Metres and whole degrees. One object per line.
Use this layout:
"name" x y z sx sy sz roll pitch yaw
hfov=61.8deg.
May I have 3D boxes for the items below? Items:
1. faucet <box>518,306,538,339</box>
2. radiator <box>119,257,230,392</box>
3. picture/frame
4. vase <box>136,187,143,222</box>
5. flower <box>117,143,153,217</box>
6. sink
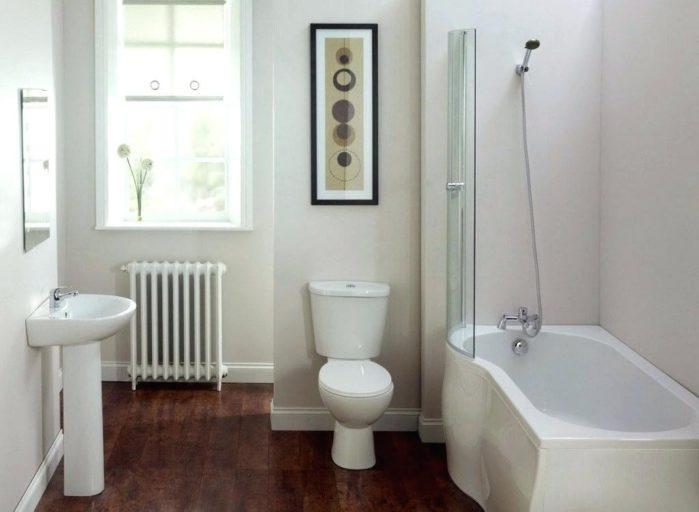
"faucet" 1.054 0.389 3.440 0.109 0.066 0.163 -4 21 -8
"radiator" -1.192 0.459 4.403 0.754 0.914 0.864 1 7 -6
"picture/frame" -0.040 -0.869 3.604 0.433 1.088 0.181 -2 12 3
"vase" -1.570 -0.380 4.337 0.060 0.241 0.152 -7 13 -18
"flower" -1.570 -0.545 4.317 0.243 0.564 0.246 -7 13 -19
"sink" -1.463 0.355 3.182 0.529 0.174 0.612 4 8 -13
